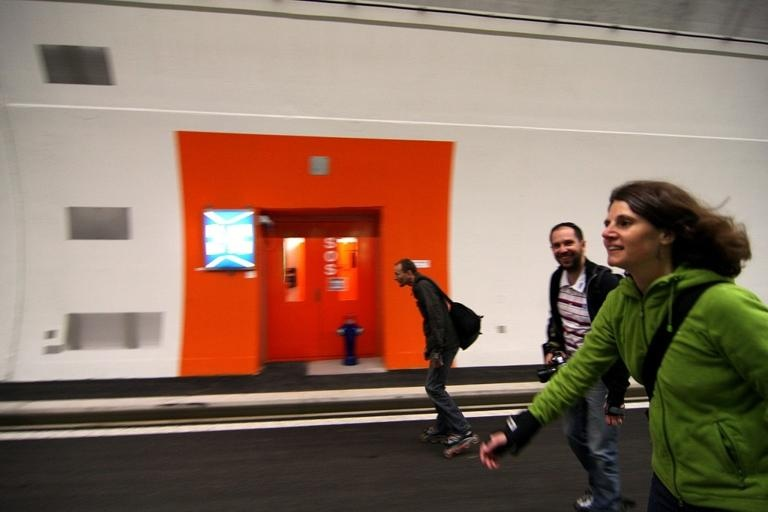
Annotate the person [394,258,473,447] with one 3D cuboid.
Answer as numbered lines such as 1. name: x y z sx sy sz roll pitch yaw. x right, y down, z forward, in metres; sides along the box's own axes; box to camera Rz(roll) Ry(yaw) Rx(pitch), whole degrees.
1. person: 0.656 1.147 7.235 0.852 2.276 0.425 -2 0 39

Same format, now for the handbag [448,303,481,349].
1. handbag: 1.025 0.762 7.325 0.260 0.434 0.525 -32 45 -11
